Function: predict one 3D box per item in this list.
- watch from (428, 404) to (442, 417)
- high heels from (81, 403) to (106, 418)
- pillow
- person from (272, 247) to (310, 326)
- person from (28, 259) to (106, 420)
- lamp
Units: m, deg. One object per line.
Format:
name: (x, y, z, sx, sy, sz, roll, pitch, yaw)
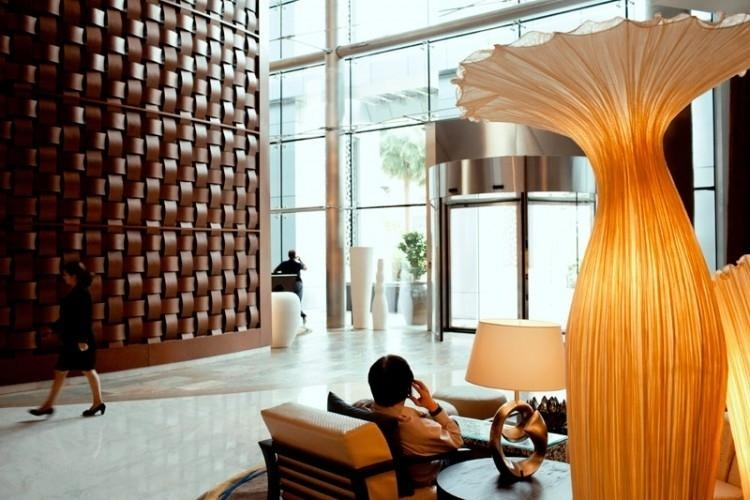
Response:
watch: (0.329, 0.868, 3.132, 0.058, 0.055, 0.074, -20, 0, -23)
high heels: (-2.715, 1.522, 5.464, 0.259, 0.116, 0.089, -2, -6, -6)
pillow: (-0.010, 0.957, 2.795, 0.175, 0.505, 0.502, -20, 13, -23)
person: (-1.726, 0.489, 11.539, 0.589, 0.967, 1.657, 0, 0, -7)
person: (-2.879, 0.833, 5.473, 0.553, 1.453, 0.345, 0, 0, 6)
lamp: (0.667, 0.715, 2.758, 0.440, 0.754, 0.392, 0, 0, 18)
